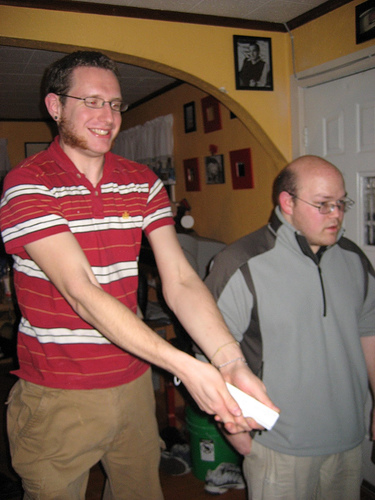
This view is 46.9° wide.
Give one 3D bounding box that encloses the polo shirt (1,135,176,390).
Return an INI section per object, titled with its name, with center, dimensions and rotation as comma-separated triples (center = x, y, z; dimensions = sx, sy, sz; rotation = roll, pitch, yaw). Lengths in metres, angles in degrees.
[polo shirt]
center = -0.252, 0.042, 1.164
dimensions = 0.478, 0.642, 0.287
rotation = -4, 3, -40

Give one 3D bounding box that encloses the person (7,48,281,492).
[person]
center = -0.172, 0.101, 1.056
dimensions = 0.541, 1.239, 0.518
rotation = -3, 3, -21

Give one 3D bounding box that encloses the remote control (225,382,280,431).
[remote control]
center = 0.151, 0.333, 0.943
dimensions = 0.147, 0.036, 0.098
rotation = 32, 9, 17

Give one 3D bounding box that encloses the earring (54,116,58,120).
[earring]
center = -0.352, -0.352, 1.149
dimensions = 0.006, 0.006, 0.002
rotation = 4, -1, 7

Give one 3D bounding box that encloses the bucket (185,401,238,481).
[bucket]
center = 0.128, 1.092, 2.373
dimensions = 0.285, 0.462, 0.221
rotation = -2, 2, 6
